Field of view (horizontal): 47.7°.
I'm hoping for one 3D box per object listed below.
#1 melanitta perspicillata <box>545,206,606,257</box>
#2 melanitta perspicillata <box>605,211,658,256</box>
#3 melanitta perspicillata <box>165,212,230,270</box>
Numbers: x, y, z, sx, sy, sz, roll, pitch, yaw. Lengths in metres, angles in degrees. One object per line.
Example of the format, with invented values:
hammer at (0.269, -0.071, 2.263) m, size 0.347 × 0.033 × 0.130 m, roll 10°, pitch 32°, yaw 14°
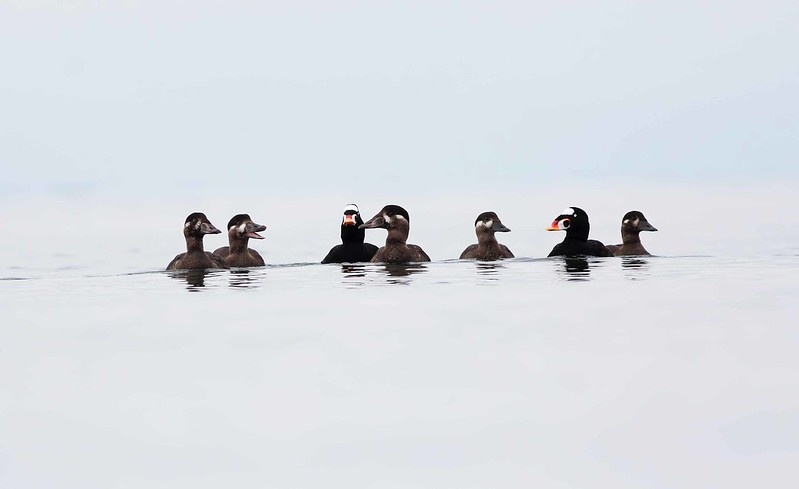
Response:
melanitta perspicillata at (3.102, -0.219, 16.072) m, size 0.932 × 0.901 × 1.022 m, roll 3°, pitch 5°, yaw 24°
melanitta perspicillata at (4.542, -0.211, 17.629) m, size 0.632 × 0.830 × 0.456 m, roll 2°, pitch 5°, yaw 13°
melanitta perspicillata at (-3.346, -0.044, 14.885) m, size 0.945 × 0.941 × 0.673 m, roll 0°, pitch 5°, yaw -13°
